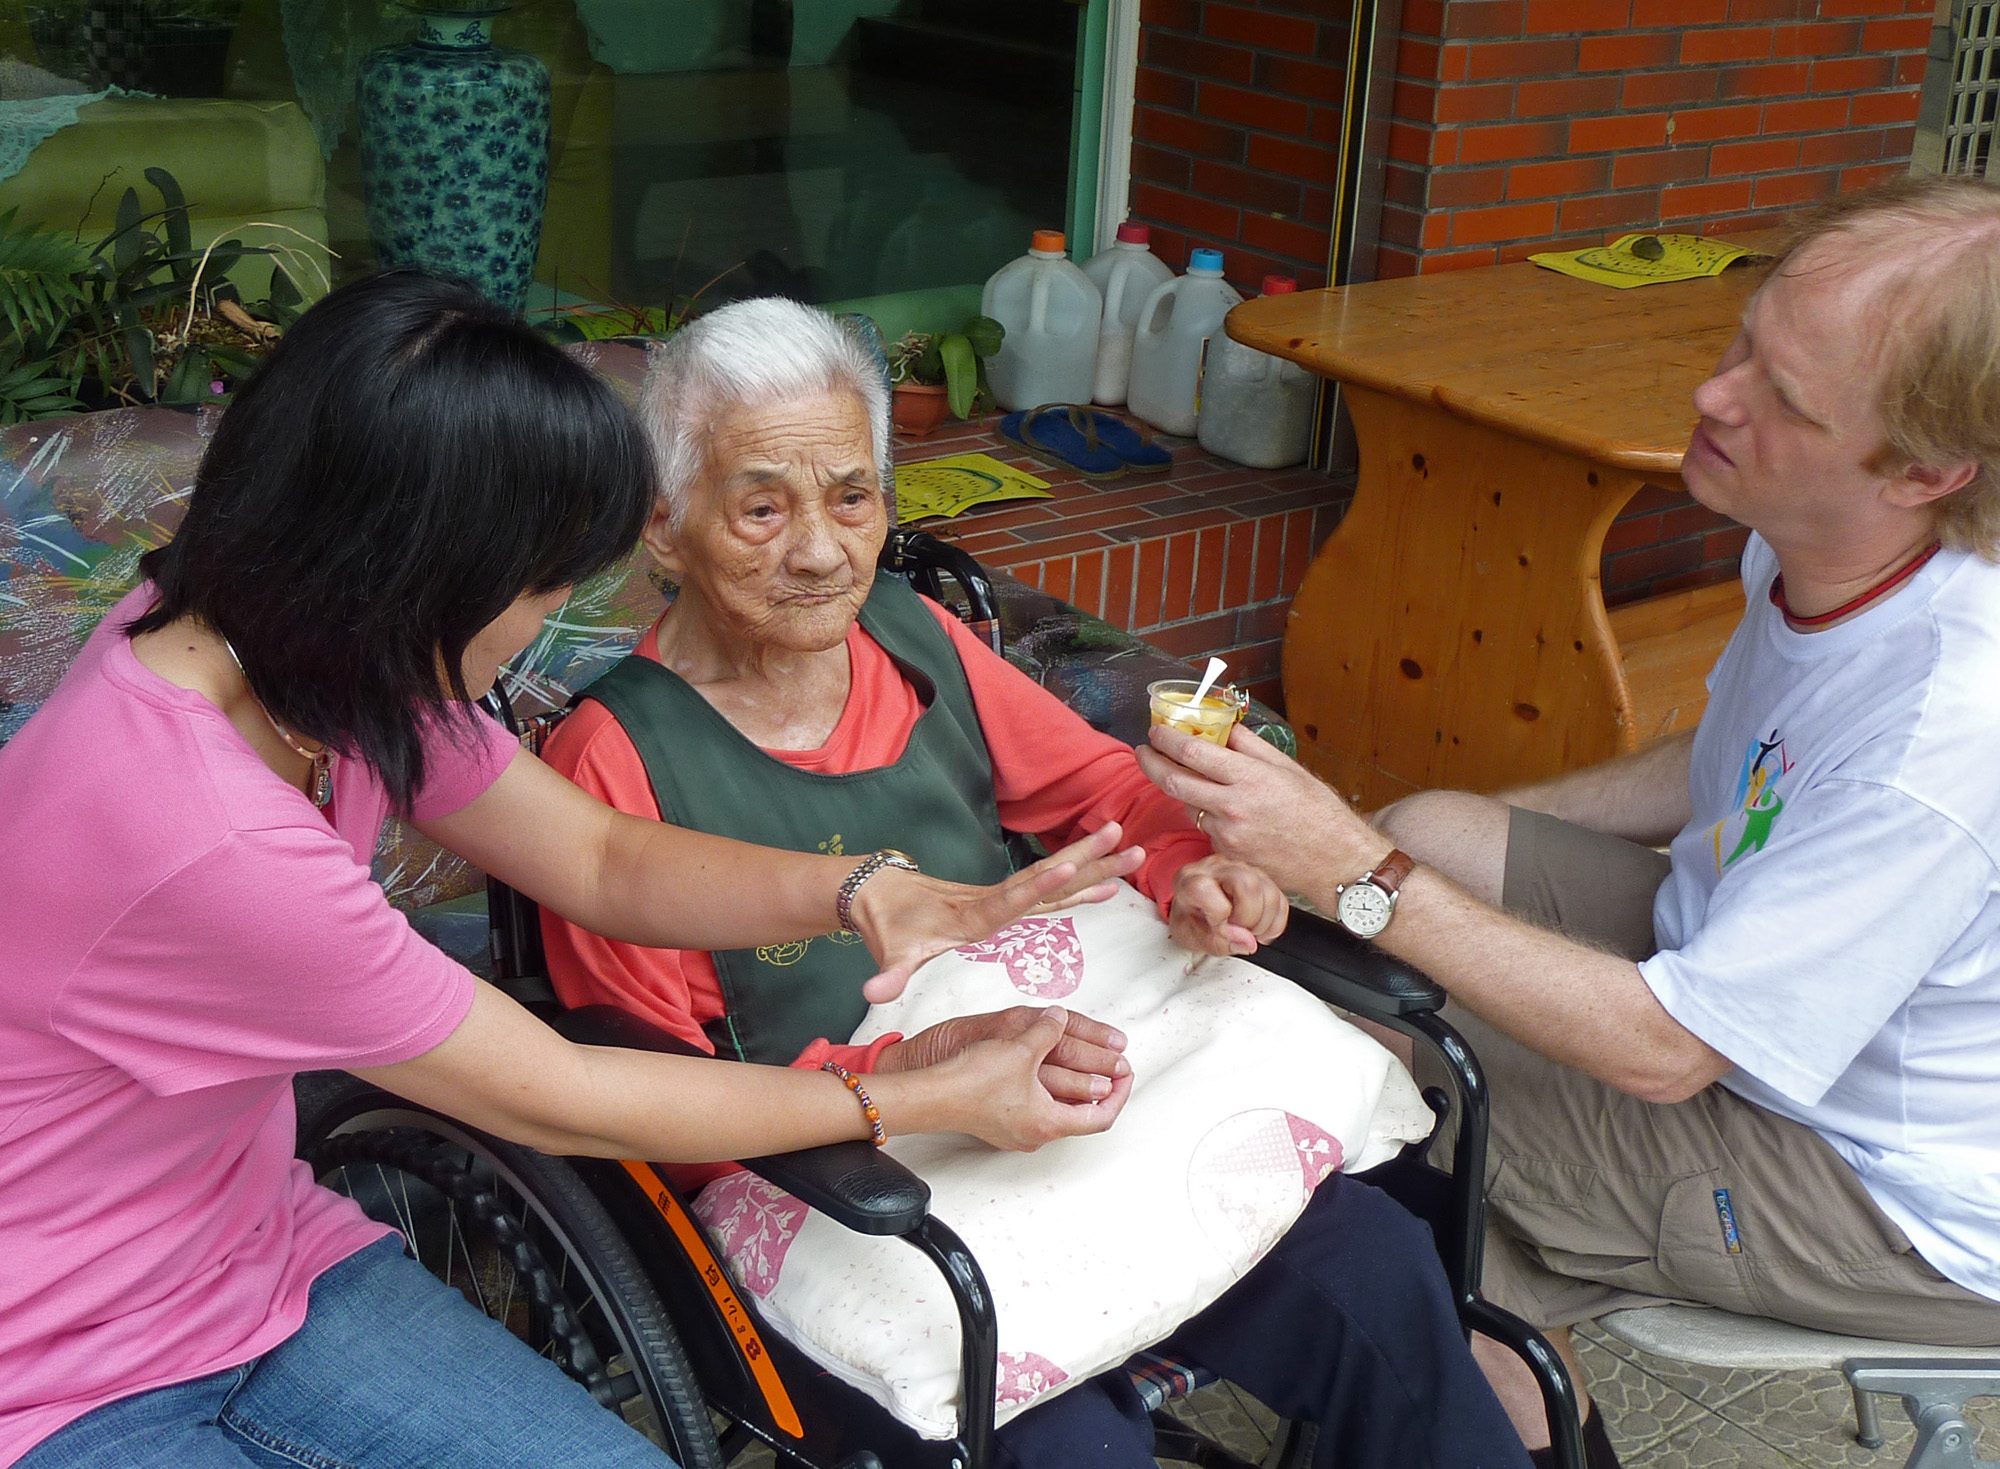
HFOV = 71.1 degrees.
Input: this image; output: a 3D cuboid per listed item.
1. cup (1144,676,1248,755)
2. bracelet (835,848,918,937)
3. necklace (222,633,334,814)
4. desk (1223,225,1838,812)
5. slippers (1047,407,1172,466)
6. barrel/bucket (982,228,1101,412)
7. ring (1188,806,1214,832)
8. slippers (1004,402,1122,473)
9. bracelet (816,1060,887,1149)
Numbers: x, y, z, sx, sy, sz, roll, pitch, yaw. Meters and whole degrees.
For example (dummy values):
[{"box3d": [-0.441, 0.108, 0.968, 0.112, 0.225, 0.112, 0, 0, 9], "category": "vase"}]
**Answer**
[{"box3d": [0.257, -0.030, 1.828, 0.112, 0.088, 0.121, 2, 6, 0], "category": "cup"}, {"box3d": [-0.151, 0.162, 1.575, 0.031, 0.088, 0.089, 42, 12, 6], "category": "bracelet"}, {"box3d": [-0.635, -0.011, 1.303, 0.092, 0.123, 0.113, -19, -3, -38], "category": "necklace"}, {"box3d": [1.347, -0.507, 3.520, 1.140, 1.128, 1.265, 20, 40, 32], "category": "desk"}, {"box3d": [0.271, -0.821, 3.844, 0.190, 0.073, 0.249, -13, 28, -27], "category": "slippers"}, {"box3d": [0.112, -1.190, 4.013, 0.315, 0.564, 0.326, 2, 33, -1], "category": "barrel/bucket"}, {"box3d": [0.255, 0.105, 1.801, 0.019, 0.027, 0.008, 20, 43, 22], "category": "ring"}, {"box3d": [0.187, -0.837, 3.855, 0.248, 0.080, 0.227, 30, 34, 34], "category": "slippers"}, {"box3d": [-0.142, 0.379, 1.418, 0.023, 0.073, 0.074, -32, 23, -4], "category": "bracelet"}]
